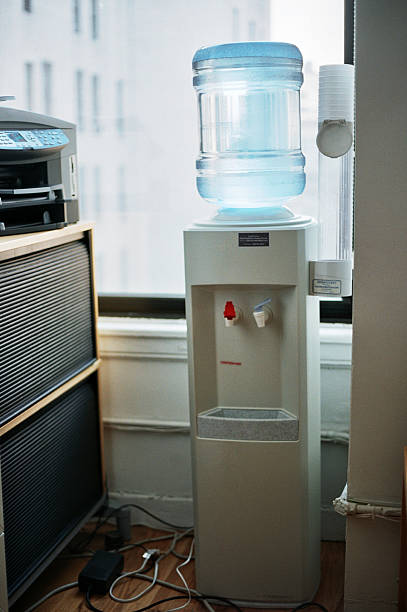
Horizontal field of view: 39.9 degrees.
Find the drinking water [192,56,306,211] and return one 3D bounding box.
[{"bbox_3d":[0.133,-0.518,1.639,0.304,0.421,0.266,1,8,23],"label":"drinking water"}]

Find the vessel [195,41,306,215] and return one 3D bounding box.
[{"bbox_3d":[0.134,-0.508,1.657,0.318,0.473,0.312,-11,17,-30],"label":"vessel"}]
